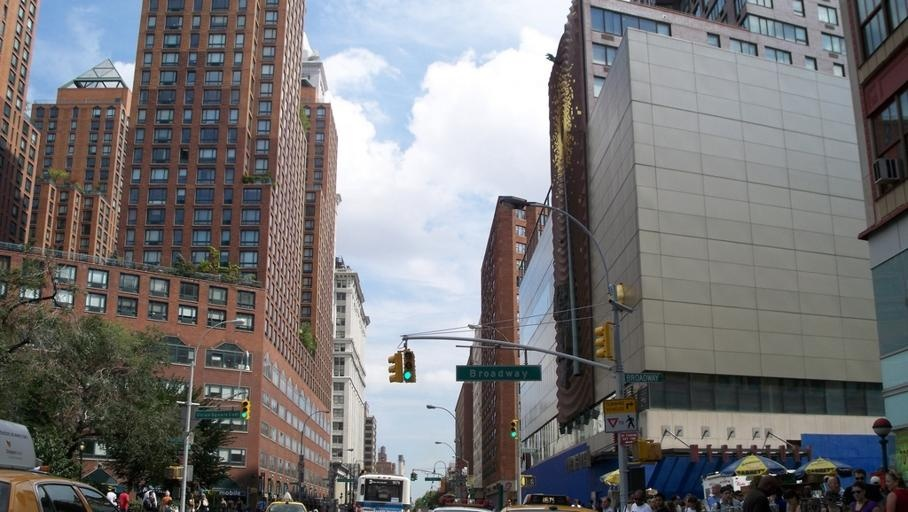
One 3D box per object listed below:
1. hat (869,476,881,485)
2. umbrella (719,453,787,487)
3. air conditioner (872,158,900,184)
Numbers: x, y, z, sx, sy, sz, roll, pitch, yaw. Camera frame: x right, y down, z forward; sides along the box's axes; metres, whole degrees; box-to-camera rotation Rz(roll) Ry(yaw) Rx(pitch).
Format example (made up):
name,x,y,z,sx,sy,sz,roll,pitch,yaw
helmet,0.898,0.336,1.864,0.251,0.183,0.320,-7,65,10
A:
name,x,y,z,sx,sy,sz,roll,pitch,yaw
hat,31.174,16.749,76.574,0.588,0.499,0.622,2,-8,8
umbrella,24.738,17.607,85.239,3.557,1.619,3.817,-4,-21,11
air conditioner,33.957,-6.782,81.542,1.621,2.286,2.157,0,-9,7
